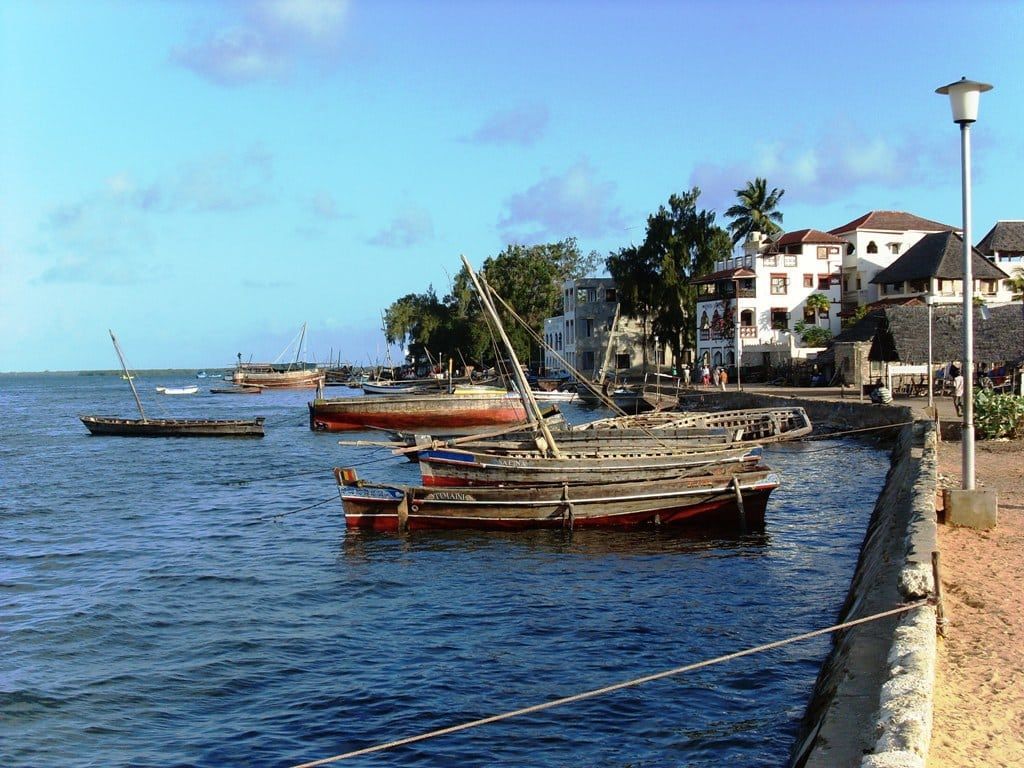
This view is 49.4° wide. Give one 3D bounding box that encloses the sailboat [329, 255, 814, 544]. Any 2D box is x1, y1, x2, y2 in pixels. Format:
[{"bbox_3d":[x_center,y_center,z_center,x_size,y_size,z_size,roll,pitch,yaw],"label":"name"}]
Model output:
[{"bbox_3d":[1.390,0.172,30.539,10.649,6.536,5.453,-1,10,9],"label":"sailboat"}]
